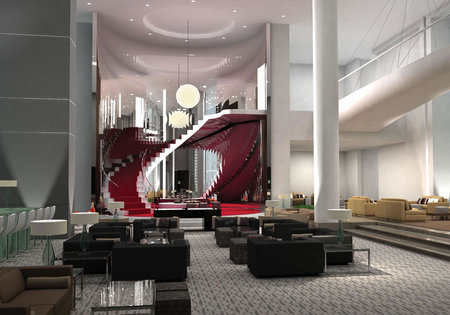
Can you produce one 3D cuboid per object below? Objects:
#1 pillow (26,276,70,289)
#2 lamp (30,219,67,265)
[{"bbox_3d":[-3.100,2.211,6.227,0.673,0.210,0.208,1,1,-4],"label":"pillow"},{"bbox_3d":[-3.452,1.675,6.915,0.548,0.875,0.559,5,-9,-42],"label":"lamp"}]
